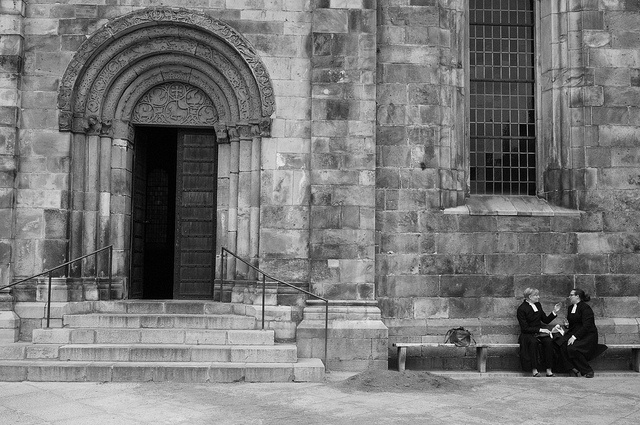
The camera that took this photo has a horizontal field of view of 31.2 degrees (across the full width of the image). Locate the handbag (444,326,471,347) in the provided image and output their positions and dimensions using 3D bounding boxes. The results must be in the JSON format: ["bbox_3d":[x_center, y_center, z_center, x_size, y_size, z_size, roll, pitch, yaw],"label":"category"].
[{"bbox_3d":[3.134,2.871,26.197,0.563,0.348,0.421,-6,-9,31],"label":"handbag"}]

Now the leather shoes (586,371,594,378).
[{"bbox_3d":[6.146,3.696,26.057,0.148,0.107,0.108,5,-18,21],"label":"leather shoes"}]

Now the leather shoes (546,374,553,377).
[{"bbox_3d":[5.227,3.713,26.044,0.179,0.059,0.087,-2,-5,2],"label":"leather shoes"}]

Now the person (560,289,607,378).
[{"bbox_3d":[5.985,2.774,26.317,0.948,2.016,0.444,-3,-6,10],"label":"person"}]

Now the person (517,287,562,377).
[{"bbox_3d":[5.027,2.750,26.318,0.925,2.031,0.493,0,-6,-13],"label":"person"}]
